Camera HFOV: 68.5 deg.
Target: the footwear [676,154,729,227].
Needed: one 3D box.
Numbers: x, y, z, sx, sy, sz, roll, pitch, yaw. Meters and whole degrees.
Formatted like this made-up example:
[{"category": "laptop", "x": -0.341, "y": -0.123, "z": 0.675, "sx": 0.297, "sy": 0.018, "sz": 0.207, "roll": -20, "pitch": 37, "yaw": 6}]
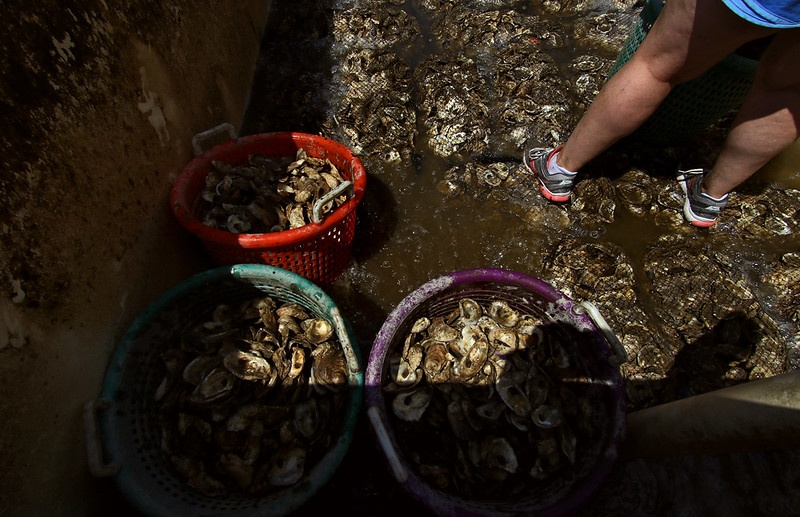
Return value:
[{"category": "footwear", "x": 2.123, "y": -0.473, "z": 4.191, "sx": 0.206, "sy": 0.242, "sz": 0.576, "roll": 2, "pitch": 55, "yaw": 14}]
